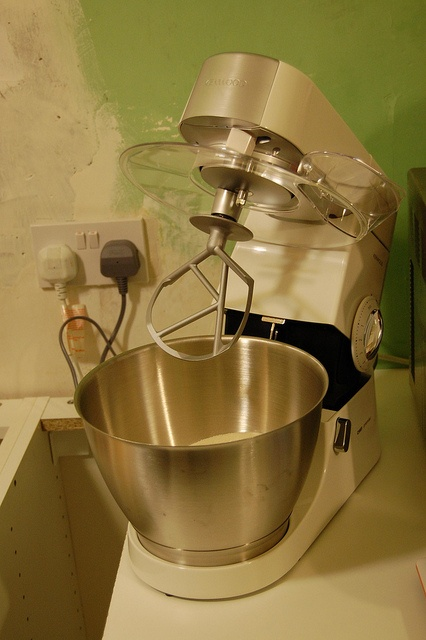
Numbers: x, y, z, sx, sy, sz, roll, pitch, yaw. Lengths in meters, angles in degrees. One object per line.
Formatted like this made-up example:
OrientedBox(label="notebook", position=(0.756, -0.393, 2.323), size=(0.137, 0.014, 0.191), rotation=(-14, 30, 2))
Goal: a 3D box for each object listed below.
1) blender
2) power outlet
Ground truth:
OrientedBox(label="blender", position=(0.049, -0.019, 0.509), size=(0.215, 0.442, 0.412), rotation=(6, 17, 33))
OrientedBox(label="power outlet", position=(-0.198, -0.118, 0.823), size=(0.162, 0.103, 0.099), rotation=(-4, 14, -15))
